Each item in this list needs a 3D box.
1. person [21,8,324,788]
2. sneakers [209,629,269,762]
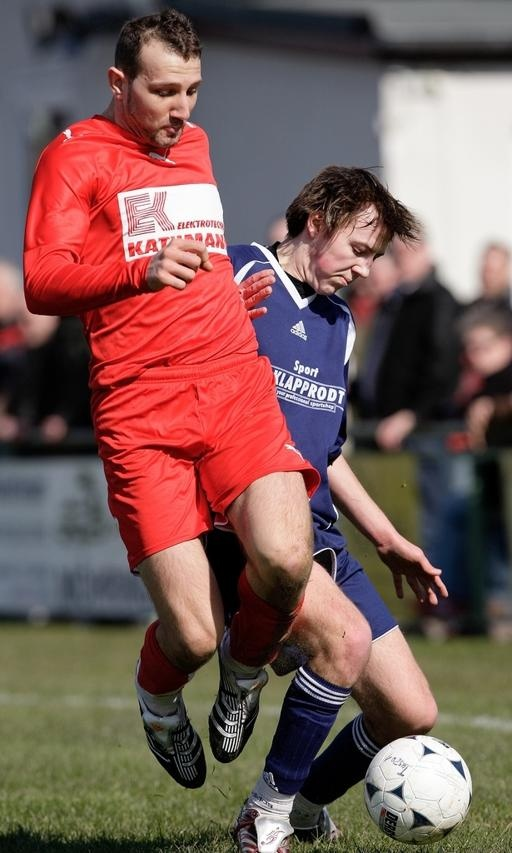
[{"bbox_3d":[-0.180,-0.037,2.594,0.668,2.055,0.885,-2,-10,5],"label":"person"},{"bbox_3d":[-0.069,0.741,2.764,0.143,0.398,0.176,6,19,-15],"label":"sneakers"}]
